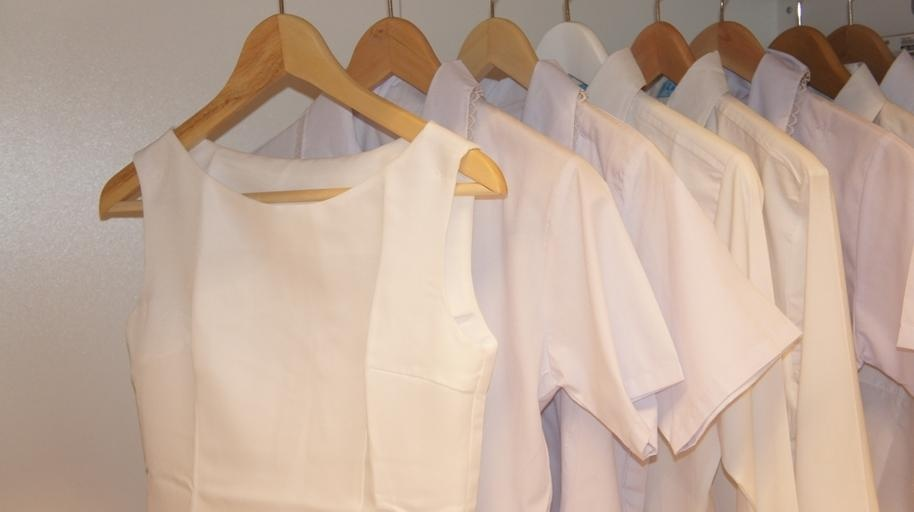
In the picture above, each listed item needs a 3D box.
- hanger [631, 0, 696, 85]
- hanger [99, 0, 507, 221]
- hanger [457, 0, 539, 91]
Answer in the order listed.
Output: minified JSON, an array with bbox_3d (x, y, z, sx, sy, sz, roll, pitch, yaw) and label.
[{"bbox_3d":[0.470,-0.464,2.047,0.138,0.150,0.047,-8,-11,40],"label":"hanger"},{"bbox_3d":[-0.346,-0.296,1.853,0.877,0.395,0.020,-3,3,8],"label":"hanger"},{"bbox_3d":[0.087,-0.494,2.098,0.026,0.291,0.281,-13,19,-38],"label":"hanger"}]
